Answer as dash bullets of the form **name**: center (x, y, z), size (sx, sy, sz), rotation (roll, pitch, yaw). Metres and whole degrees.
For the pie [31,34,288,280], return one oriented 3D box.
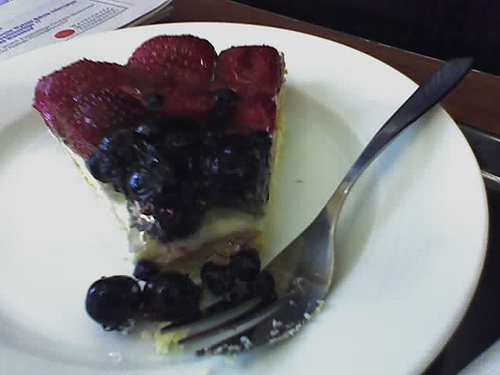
- **pie**: center (-0.152, -0.088, 1.494), size (0.454, 0.418, 0.321), rotation (-3, 34, 1)
